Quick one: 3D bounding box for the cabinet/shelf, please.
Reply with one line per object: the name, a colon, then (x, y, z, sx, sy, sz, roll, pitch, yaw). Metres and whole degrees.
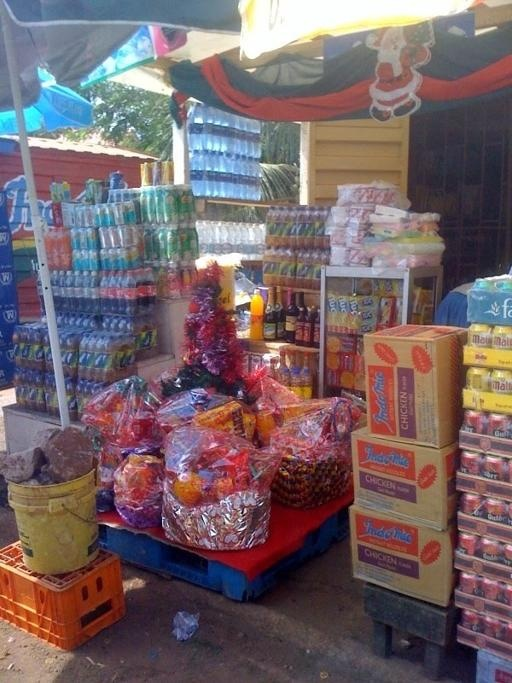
cabinet/shelf: (-0.186, -0.118, 3.480, 2.187, 1.739, 0.700, 7, 14, 28)

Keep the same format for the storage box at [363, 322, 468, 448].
storage box: (0.600, 0.088, 2.130, 0.383, 0.487, 0.499, 4, 11, 31)

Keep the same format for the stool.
stool: (0.600, 1.058, 2.040, 0.321, 0.309, 0.250, 5, 9, 42)

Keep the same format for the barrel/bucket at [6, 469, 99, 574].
barrel/bucket: (-0.774, 0.721, 2.324, 0.420, 0.369, 0.400, -2, 5, 0)
